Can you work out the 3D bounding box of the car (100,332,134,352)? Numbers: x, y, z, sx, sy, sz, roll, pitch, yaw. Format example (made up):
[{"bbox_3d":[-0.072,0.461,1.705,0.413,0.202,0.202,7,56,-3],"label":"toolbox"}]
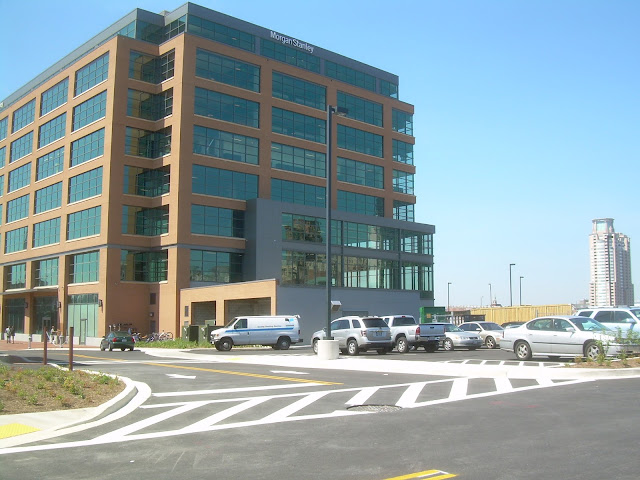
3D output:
[{"bbox_3d":[-14.639,7.362,43.431,1.892,1.437,2.155,4,-12,-25],"label":"car"}]

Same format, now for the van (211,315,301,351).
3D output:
[{"bbox_3d":[-4.178,5.982,38.534,5.108,1.797,2.399,4,-10,-26],"label":"van"}]
